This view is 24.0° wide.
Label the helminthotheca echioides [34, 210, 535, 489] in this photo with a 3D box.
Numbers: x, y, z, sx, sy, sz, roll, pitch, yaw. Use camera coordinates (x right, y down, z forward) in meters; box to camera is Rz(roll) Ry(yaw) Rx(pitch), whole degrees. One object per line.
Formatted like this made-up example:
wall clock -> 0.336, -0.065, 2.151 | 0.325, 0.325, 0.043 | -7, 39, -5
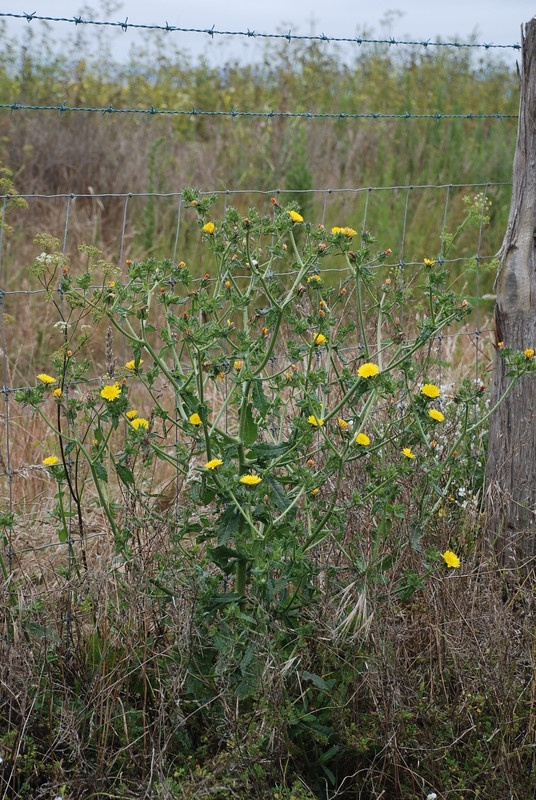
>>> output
helminthotheca echioides -> -0.047, -0.068, 4.198 | 1.397, 1.037, 1.435 | 5, 1, -31
